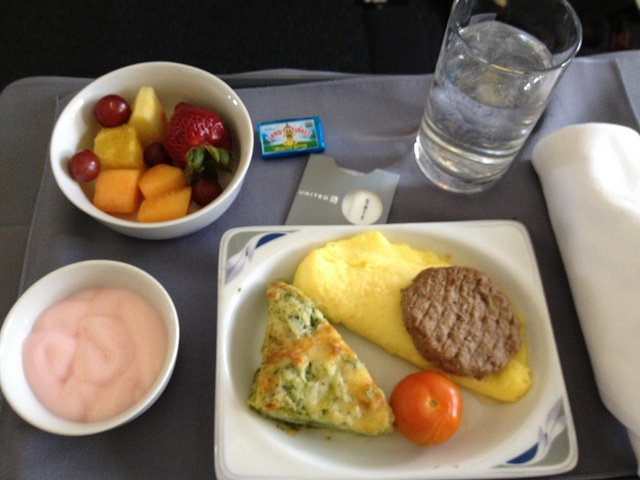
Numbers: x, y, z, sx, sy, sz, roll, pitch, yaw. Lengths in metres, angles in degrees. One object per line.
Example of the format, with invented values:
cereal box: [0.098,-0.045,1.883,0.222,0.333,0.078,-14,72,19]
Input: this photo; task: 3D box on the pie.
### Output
pie: [0.223,0.144,1.331,0.628,0.125,0.352,25,40,31]

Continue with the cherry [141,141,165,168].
cherry: [-0.391,-0.199,1.354,0.047,0.027,0.054,23,93,1]

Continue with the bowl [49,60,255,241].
bowl: [-0.386,-0.179,1.362,0.404,0.172,0.467,10,58,-8]

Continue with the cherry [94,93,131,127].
cherry: [-0.477,-0.298,1.330,0.070,0.075,0.076,8,56,-4]

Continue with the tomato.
tomato: [0.216,0.339,1.175,0.143,0.052,0.139,23,69,11]

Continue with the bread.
bread: [0.015,0.240,1.209,0.300,0.055,0.278,7,67,4]

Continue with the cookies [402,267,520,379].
cookies: [0.304,0.176,1.259,0.235,0.087,0.289,-18,47,-18]

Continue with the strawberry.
strawberry: [-0.275,-0.231,1.418,0.167,0.153,0.196,-33,100,-27]

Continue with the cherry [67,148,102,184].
cherry: [-0.536,-0.171,1.317,0.066,0.071,0.092,8,100,40]
